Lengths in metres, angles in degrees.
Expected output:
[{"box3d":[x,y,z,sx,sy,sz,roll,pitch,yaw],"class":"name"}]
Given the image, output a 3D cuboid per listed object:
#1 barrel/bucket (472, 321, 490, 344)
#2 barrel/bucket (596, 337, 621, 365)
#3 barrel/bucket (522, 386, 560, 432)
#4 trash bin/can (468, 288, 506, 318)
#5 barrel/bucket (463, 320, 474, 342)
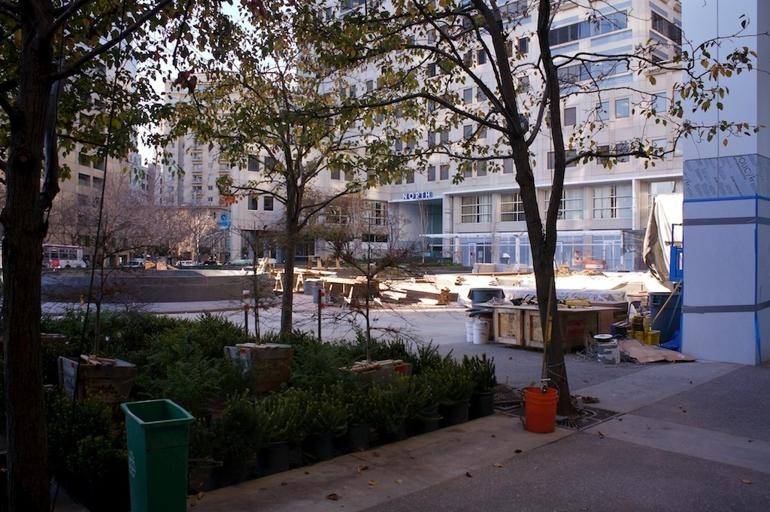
[{"box3d":[2.801,2.236,18.994,0.457,0.631,0.604,2,-7,-13],"class":"barrel/bucket"},{"box3d":[5.553,2.349,16.417,0.674,0.747,0.606,-1,3,-10],"class":"barrel/bucket"},{"box3d":[2.657,2.673,11.406,0.662,0.692,0.690,0,-2,0],"class":"barrel/bucket"},{"box3d":[3.285,1.475,20.896,0.947,1.076,1.254,1,-13,-3],"class":"trash bin/can"},{"box3d":[2.511,2.207,19.312,0.209,0.694,0.491,-2,-3,-6],"class":"barrel/bucket"}]
